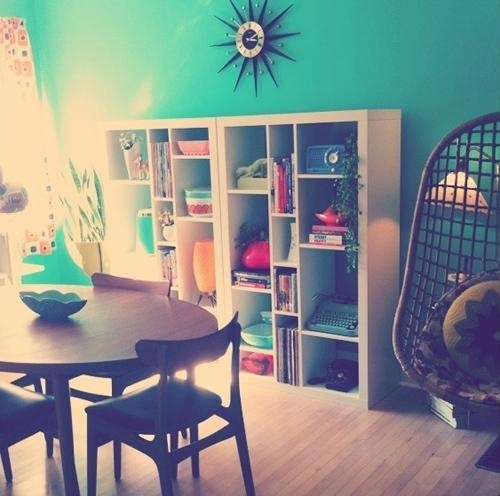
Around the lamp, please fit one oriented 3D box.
[{"bbox_3d":[0.973,-0.269,2.220,0.325,0.408,0.397,10,12,18],"label":"lamp"}]

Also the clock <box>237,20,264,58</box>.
[{"bbox_3d":[0.012,-1.391,3.057,0.223,0.254,0.016,7,11,41],"label":"clock"}]
